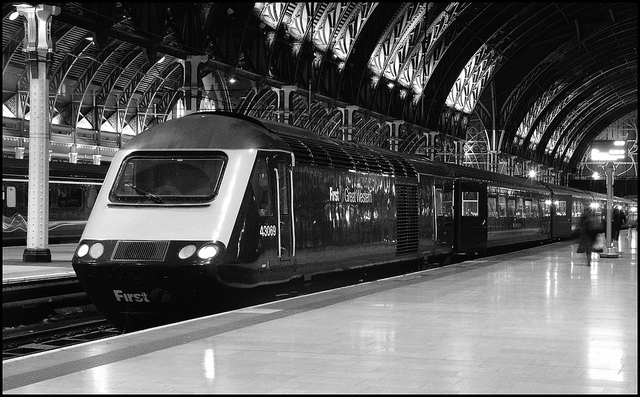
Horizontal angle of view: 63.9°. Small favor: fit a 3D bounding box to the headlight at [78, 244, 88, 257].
[{"bbox_3d":[-5.038,1.098,10.885,0.283,0.260,0.105,0,-1,37],"label":"headlight"}]
